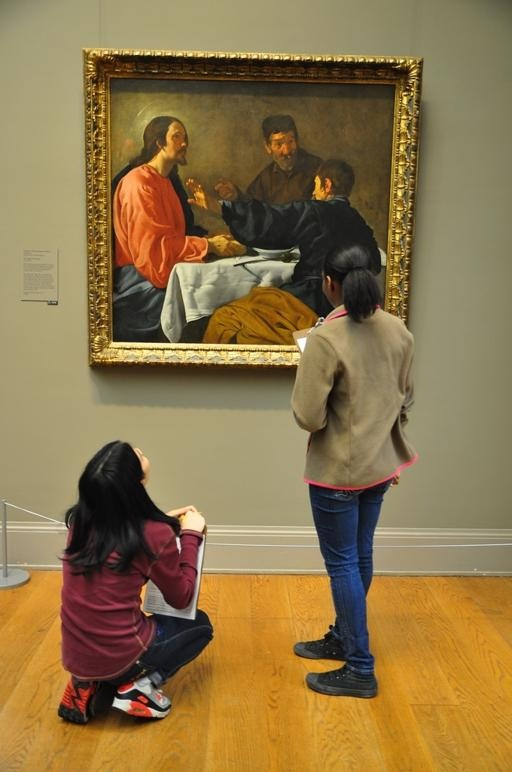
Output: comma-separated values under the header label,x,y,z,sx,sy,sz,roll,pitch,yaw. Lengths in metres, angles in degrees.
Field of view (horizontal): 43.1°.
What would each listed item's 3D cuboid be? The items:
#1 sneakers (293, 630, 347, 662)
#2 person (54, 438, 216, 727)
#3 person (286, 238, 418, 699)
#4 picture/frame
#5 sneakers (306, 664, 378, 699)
label,x,y,z,sx,sy,sz,roll,pitch,yaw
sneakers,0.282,1.148,2.907,0.280,0.127,0.095,3,7,2
person,-0.447,0.704,2.440,0.557,0.955,0.523,0,6,-29
person,0.386,0.358,2.559,0.410,1.756,0.528,3,6,19
picture/frame,-0.040,-1.009,3.410,1.741,1.669,0.170,1,8,1
sneakers,0.351,1.175,2.627,0.299,0.128,0.110,2,1,4
